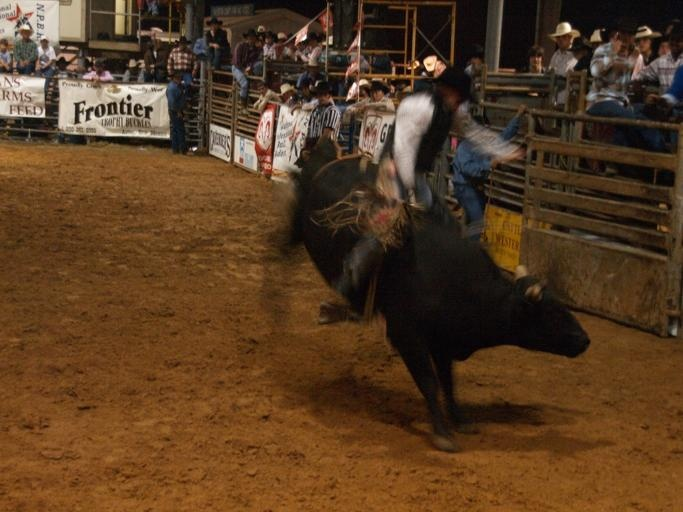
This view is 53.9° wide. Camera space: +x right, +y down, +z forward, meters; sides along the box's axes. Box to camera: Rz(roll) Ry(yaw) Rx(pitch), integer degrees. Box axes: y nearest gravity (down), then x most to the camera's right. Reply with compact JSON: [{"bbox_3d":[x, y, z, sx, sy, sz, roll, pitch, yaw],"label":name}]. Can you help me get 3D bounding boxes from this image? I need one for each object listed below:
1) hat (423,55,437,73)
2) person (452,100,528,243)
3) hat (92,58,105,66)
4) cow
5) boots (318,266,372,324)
[{"bbox_3d":[2.112,-4.614,16.177,0.406,0.457,0.514,5,16,0],"label":"hat"},{"bbox_3d":[1.778,-0.933,8.055,0.895,0.661,2.193,-11,-27,5],"label":"person"},{"bbox_3d":[-7.660,-6.075,21.300,0.309,0.132,0.407,2,11,-2],"label":"hat"},{"bbox_3d":[0.613,0.333,5.179,2.248,2.170,0.758,6,11,9],"label":"cow"},{"bbox_3d":[0.056,0.452,5.675,0.216,0.524,0.989,7,-15,-23],"label":"boots"}]
